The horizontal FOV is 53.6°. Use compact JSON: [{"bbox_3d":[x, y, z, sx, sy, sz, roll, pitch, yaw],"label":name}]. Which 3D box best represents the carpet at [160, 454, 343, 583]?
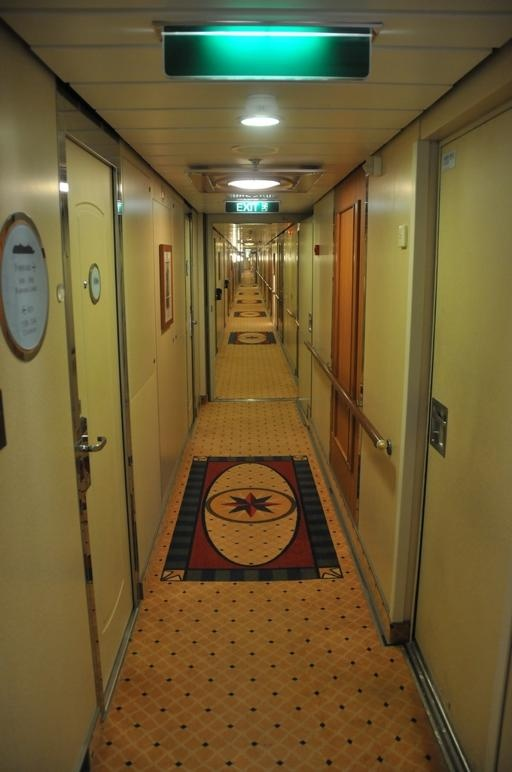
[{"bbox_3d":[-0.043,1.071,4.588,1.139,0.046,3.087,0,7,-2],"label":"carpet"}]
